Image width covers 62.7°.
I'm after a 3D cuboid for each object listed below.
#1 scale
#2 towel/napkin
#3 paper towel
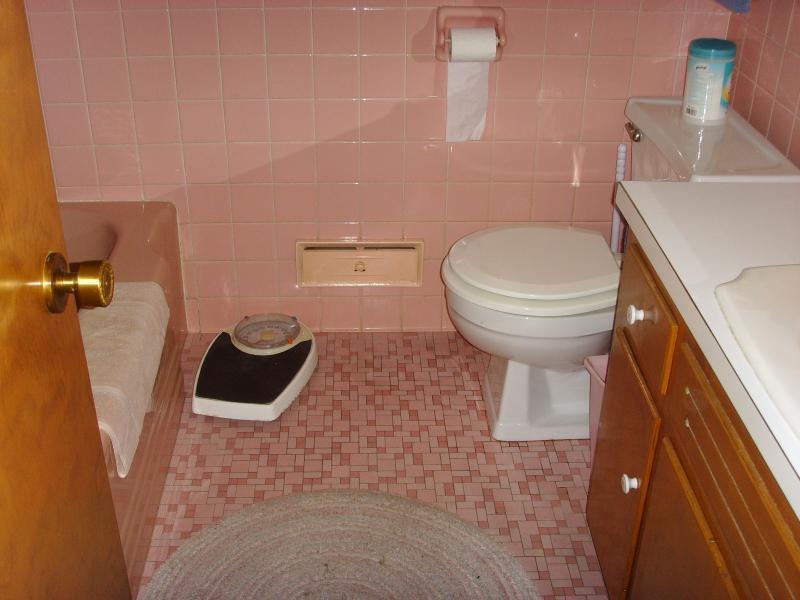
[{"bbox_3d":[-0.443,0.192,2.091,0.336,0.132,0.465,2,29,7],"label":"scale"},{"bbox_3d":[-0.667,0.170,1.617,0.259,0.109,0.472,3,44,-13],"label":"towel/napkin"},{"bbox_3d":[0.204,-0.640,1.965,0.122,0.278,0.109,0,38,-6],"label":"paper towel"}]
